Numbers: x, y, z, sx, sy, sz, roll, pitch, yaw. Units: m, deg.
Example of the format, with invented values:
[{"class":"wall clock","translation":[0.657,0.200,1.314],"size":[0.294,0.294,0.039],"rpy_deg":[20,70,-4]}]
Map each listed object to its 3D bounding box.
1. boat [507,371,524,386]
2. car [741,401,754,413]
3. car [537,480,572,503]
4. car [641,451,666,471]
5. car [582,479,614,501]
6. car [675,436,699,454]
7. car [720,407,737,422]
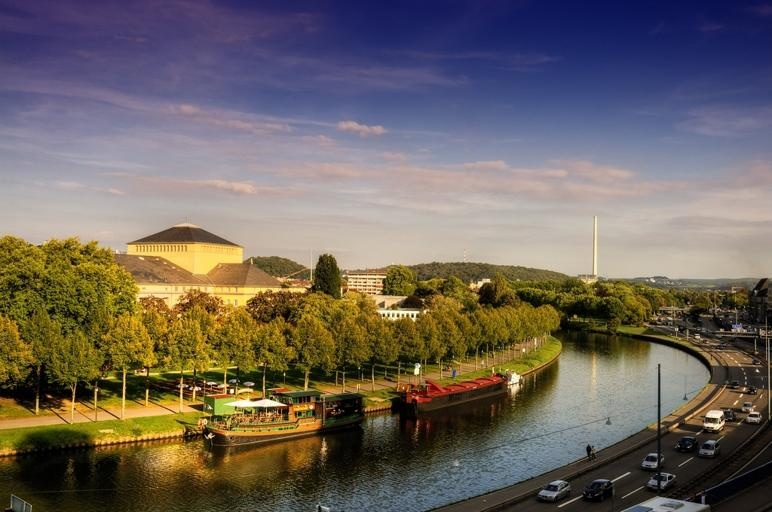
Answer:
[{"class":"boat","translation":[26.064,24.924,149.195],"size":[3.601,0.884,2.967],"rpy_deg":[5,41,0]},{"class":"car","translation":[60.089,25.021,121.606],"size":[1.331,0.927,2.266],"rpy_deg":[-4,-6,29]},{"class":"car","translation":[21.029,28.976,90.774],"size":[4.415,1.948,1.714],"rpy_deg":[-3,3,-34]},{"class":"car","translation":[35.797,27.358,98.208],"size":[2.472,1.733,5.095],"rpy_deg":[-8,-13,34]},{"class":"car","translation":[26.323,28.729,90.395],"size":[3.981,2.138,1.503],"rpy_deg":[-3,3,-24]},{"class":"car","translation":[42.511,26.376,103.280],"size":[3.859,1.605,2.127],"rpy_deg":[-2,3,-21]},{"class":"car","translation":[55.332,25.458,118.087],"size":[1.810,0.761,2.838],"rpy_deg":[-3,-2,10]}]
